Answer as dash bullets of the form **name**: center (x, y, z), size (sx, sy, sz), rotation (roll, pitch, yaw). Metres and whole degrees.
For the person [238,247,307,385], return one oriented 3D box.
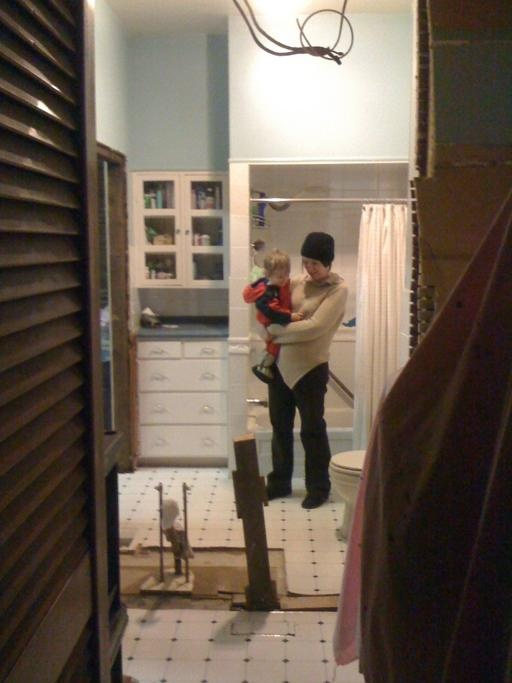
- **person**: center (0.140, -0.117, 3.444), size (0.391, 0.708, 0.298), rotation (-3, 23, -2)

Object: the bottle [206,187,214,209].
- **bottle**: center (-0.288, -0.923, 4.051), size (0.042, 0.138, 0.032), rotation (1, 7, 4)

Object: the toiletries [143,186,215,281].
- **toiletries**: center (-0.499, -0.721, 4.050), size (0.600, 0.768, 0.235), rotation (0, 6, -4)

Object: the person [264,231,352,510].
- **person**: center (0.262, 0.255, 3.379), size (0.416, 1.251, 0.247), rotation (2, 7, 13)

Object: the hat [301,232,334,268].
- **hat**: center (0.324, -0.475, 3.268), size (0.143, 0.141, 0.186), rotation (9, 13, 14)

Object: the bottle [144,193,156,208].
- **bottle**: center (-0.680, -0.898, 4.018), size (0.077, 0.134, 0.075), rotation (0, 0, 0)

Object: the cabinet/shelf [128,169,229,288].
- **cabinet/shelf**: center (-0.465, -0.720, 4.130), size (0.632, 0.744, 0.211), rotation (0, 5, -3)
